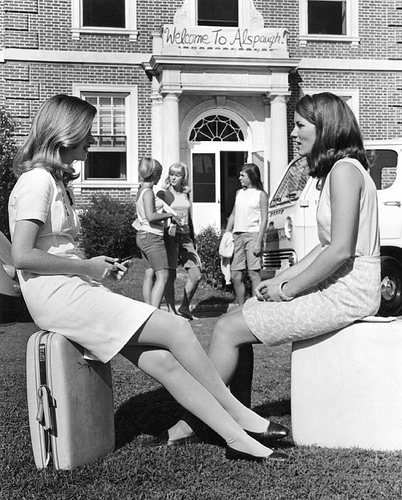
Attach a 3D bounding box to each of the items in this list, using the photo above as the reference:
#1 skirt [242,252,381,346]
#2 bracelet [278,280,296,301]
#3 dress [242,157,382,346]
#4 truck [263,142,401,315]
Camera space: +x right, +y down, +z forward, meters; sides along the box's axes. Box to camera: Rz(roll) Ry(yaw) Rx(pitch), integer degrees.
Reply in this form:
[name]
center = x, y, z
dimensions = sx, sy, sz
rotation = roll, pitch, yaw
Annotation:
[skirt]
center = 0.582, 0.187, 4.307
dimensions = 0.563, 0.320, 0.439
rotation = -9, 5, 8
[bracelet]
center = 0.432, 0.210, 4.299
dimensions = 0.078, 0.102, 0.038
rotation = -3, -3, 4
[dress]
center = 0.622, 0.033, 4.470
dimensions = 0.662, 0.918, 0.485
rotation = -9, -3, 18
[truck]
center = 1.467, -0.357, 9.565
dimensions = 2.075, 2.129, 1.585
rotation = 1, -1, -11
